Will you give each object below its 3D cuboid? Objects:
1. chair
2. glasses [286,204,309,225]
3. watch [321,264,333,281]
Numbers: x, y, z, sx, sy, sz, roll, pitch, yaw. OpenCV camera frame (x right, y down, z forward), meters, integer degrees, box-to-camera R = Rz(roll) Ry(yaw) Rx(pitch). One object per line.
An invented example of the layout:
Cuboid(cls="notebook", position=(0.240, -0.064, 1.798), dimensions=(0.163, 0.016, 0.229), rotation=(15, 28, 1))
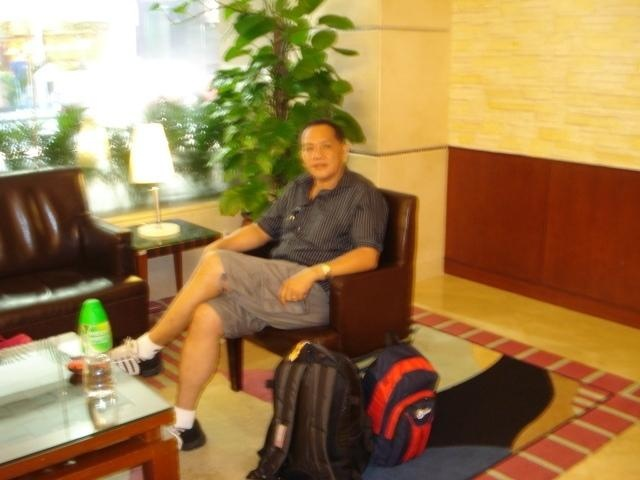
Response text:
Cuboid(cls="chair", position=(0.194, 0.097, 2.664), dimensions=(0.859, 1.195, 0.921), rotation=(9, 11, 42))
Cuboid(cls="glasses", position=(-0.127, -0.149, 2.846), dimensions=(0.120, 0.145, 0.099), rotation=(-4, 16, -36))
Cuboid(cls="watch", position=(0.032, 0.157, 2.519), dimensions=(0.051, 0.063, 0.064), rotation=(-10, 19, -15))
